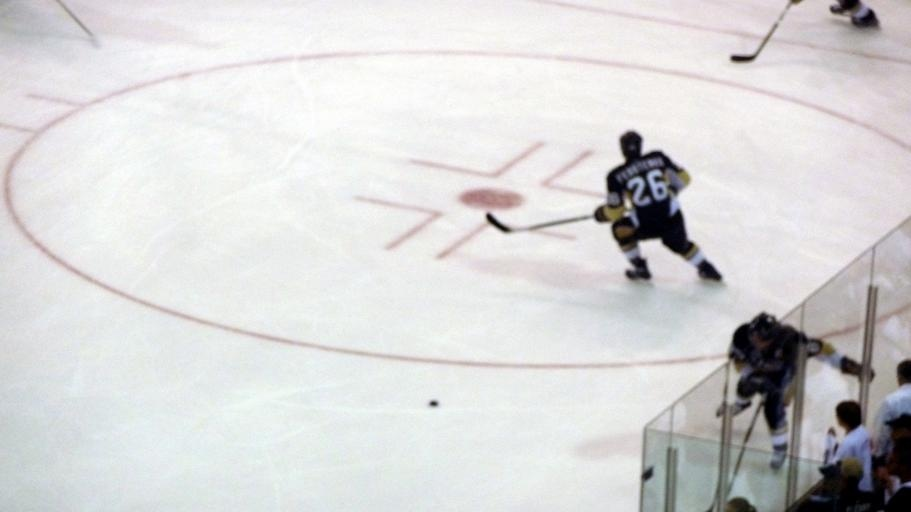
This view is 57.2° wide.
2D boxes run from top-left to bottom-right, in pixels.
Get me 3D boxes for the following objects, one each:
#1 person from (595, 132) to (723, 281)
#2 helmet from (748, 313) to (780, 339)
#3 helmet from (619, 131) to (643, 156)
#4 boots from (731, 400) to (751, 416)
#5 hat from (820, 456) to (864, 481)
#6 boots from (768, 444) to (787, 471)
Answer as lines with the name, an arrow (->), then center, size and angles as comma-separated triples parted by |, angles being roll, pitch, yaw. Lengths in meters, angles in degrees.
person -> 1.896, -0.376, 8.135 | 1.084, 1.206, 0.535 | -1, -4, 5
helmet -> 2.307, 0.514, 6.194 | 0.204, 0.184, 0.208 | -4, 15, 7
helmet -> 1.691, -1.072, 8.054 | 0.187, 0.273, 0.171 | -1, -4, 3
boots -> 2.008, 1.080, 5.912 | 0.152, 0.083, 0.035 | -34, 1, -29
hat -> 2.738, 1.512, 5.917 | 0.227, 0.091, 0.185 | -13, -12, 41
boots -> 2.328, 1.464, 6.027 | 0.087, 0.231, 0.100 | 6, -34, 31
